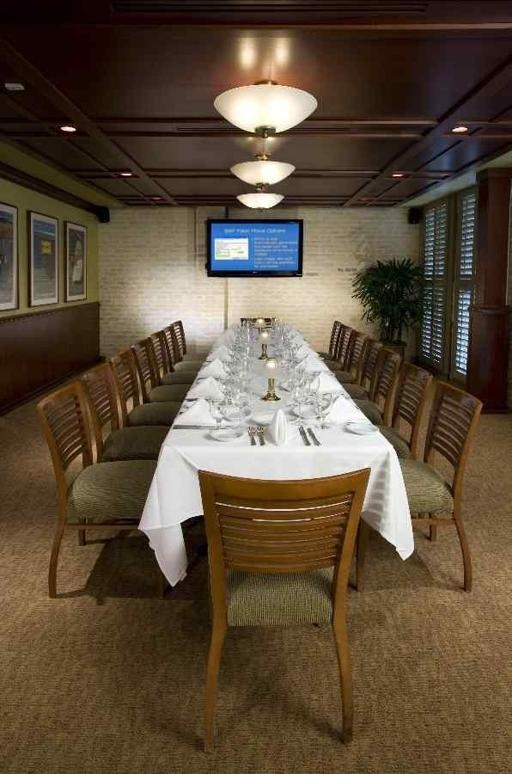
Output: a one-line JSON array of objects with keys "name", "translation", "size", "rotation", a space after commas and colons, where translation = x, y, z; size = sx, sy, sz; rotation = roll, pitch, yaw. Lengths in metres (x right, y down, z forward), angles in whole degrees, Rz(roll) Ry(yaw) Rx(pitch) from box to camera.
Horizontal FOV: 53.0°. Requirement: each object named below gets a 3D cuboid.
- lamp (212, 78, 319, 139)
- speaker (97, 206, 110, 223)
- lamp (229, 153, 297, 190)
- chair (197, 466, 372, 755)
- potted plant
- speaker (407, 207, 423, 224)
[{"name": "lamp", "translation": [0.046, -1.456, 2.744], "size": [0.538, 0.168, 0.545], "rotation": [18, 21, 39]}, {"name": "speaker", "translation": [-2.524, -2.837, 8.484], "size": [0.185, 0.244, 0.276], "rotation": [-1, 5, -13]}, {"name": "lamp", "translation": [0.039, -1.672, 4.169], "size": [0.460, 0.263, 0.488], "rotation": [2, 8, 7]}, {"name": "chair", "translation": [0.060, 0.556, 1.297], "size": [0.389, 0.774, 0.370], "rotation": [0, 6, -4]}, {"name": "potted plant", "translation": [2.215, -1.227, 8.277], "size": [1.273, 1.447, 1.172], "rotation": [14, 19, 39]}, {"name": "speaker", "translation": [2.616, -2.844, 8.553], "size": [0.229, 0.262, 0.178], "rotation": [0, 6, 1]}]
